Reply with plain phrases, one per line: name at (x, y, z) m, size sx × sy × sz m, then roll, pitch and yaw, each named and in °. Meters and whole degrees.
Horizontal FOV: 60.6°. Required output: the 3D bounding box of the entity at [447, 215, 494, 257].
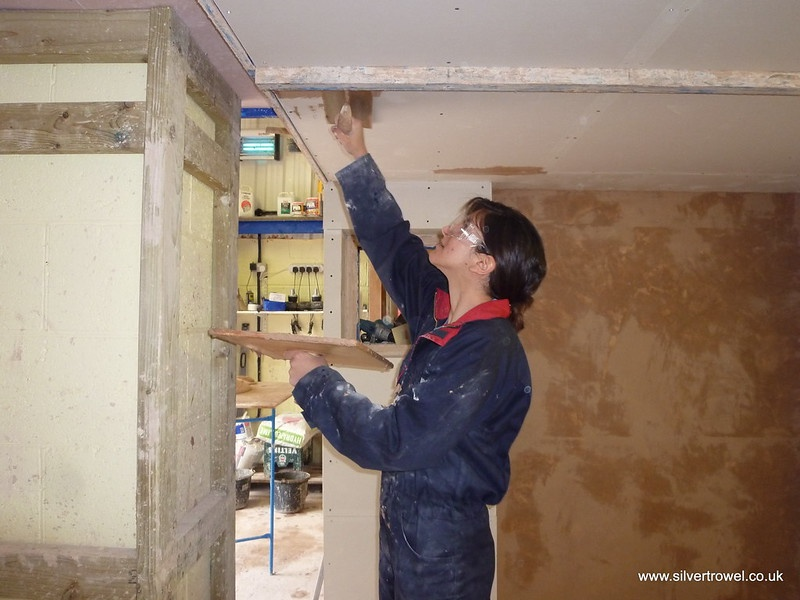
entity at (0.249, -0.240, 2.501) m, size 0.178 × 0.048 × 0.099 m, roll 23°, pitch -25°, yaw 16°

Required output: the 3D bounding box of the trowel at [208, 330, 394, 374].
trowel at (-0.314, 0.180, 2.432) m, size 0.527 × 0.183 × 0.607 m, roll 2°, pitch 3°, yaw 8°

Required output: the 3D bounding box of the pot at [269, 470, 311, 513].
pot at (-0.902, 1.564, 5.561) m, size 0.364 × 0.279 × 0.365 m, roll -2°, pitch -4°, yaw 0°
